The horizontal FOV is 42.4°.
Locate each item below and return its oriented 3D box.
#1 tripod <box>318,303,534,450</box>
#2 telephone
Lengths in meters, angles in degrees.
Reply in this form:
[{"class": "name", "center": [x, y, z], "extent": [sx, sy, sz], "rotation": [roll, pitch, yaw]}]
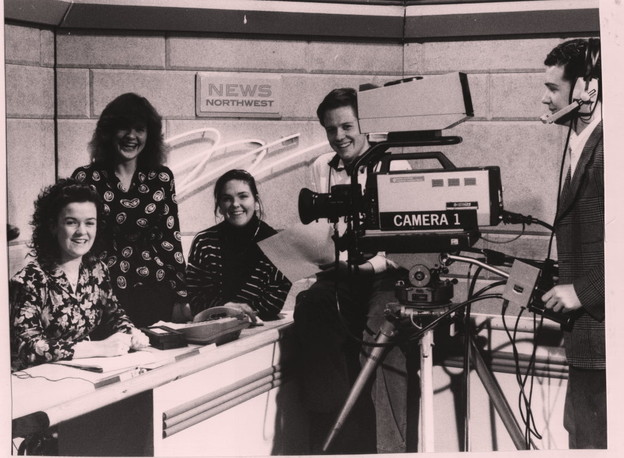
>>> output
[{"class": "tripod", "center": [0.493, 0.590, 3.945], "extent": [0.870, 0.731, 0.692], "rotation": [0, -7, 1]}, {"class": "telephone", "center": [-0.451, 0.436, 3.629], "extent": [0.269, 0.129, 0.164], "rotation": [-5, -6, 4]}]
